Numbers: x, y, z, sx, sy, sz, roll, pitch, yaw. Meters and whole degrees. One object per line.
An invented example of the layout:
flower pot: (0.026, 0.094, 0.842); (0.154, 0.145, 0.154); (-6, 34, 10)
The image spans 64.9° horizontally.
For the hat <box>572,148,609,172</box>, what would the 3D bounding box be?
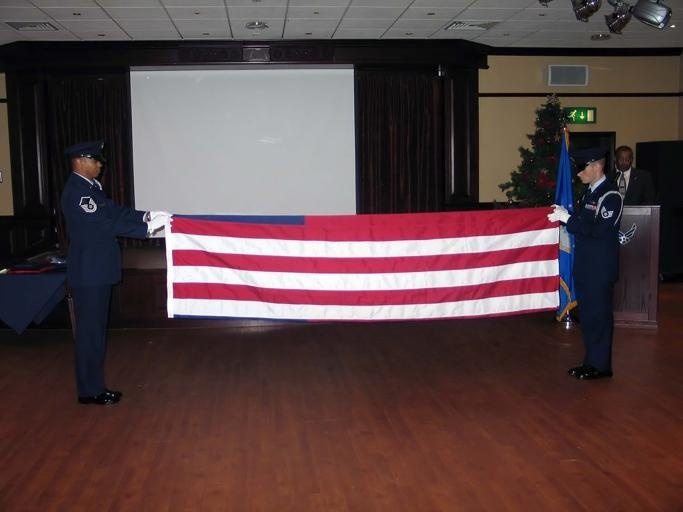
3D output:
hat: (2.050, -0.800, 4.474); (0.244, 0.194, 0.447); (4, 12, 24)

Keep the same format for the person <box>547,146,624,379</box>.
person: (2.028, 0.053, 4.396); (0.449, 1.812, 0.545); (1, 11, 9)

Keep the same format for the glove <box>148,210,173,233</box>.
glove: (-1.471, -0.250, 4.304); (0.154, 0.164, 0.069); (10, -24, -19)

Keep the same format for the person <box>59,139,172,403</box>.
person: (-1.773, 0.214, 4.157); (0.631, 1.730, 0.514); (-7, 12, -29)

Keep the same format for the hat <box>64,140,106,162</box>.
hat: (-1.982, -0.821, 4.148); (0.234, 0.131, 0.212); (0, 15, -14)

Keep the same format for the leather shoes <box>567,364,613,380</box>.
leather shoes: (2.011, 0.944, 4.352); (0.213, 0.069, 0.150); (1, 6, 0)
